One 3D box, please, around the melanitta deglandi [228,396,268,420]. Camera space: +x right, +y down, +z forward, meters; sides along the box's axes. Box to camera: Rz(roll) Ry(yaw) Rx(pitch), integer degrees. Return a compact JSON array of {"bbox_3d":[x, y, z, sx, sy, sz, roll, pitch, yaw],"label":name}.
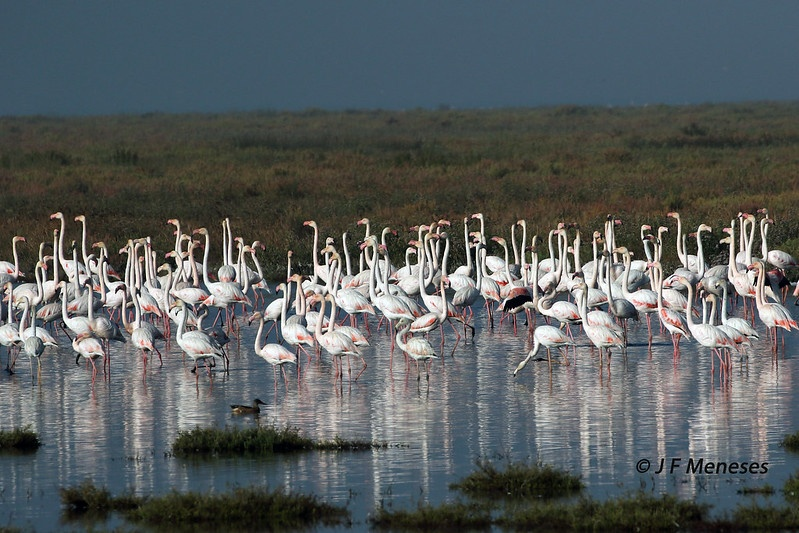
[{"bbox_3d":[-3.519,3.365,41.113,0.774,0.464,0.374,1,4,2],"label":"melanitta deglandi"}]
